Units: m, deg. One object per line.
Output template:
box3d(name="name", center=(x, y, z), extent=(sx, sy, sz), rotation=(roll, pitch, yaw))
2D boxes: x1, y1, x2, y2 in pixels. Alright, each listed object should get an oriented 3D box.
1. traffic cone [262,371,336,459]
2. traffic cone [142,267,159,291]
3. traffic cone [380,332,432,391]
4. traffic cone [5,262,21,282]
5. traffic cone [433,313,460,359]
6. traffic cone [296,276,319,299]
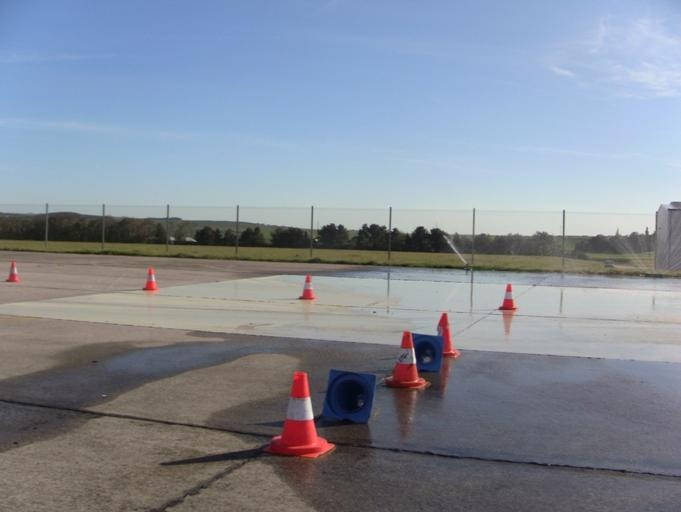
box3d(name="traffic cone", center=(-0.390, 1.468, 6.148), extent=(0.780, 0.699, 0.821), rotation=(1, -1, -8))
box3d(name="traffic cone", center=(-5.554, 0.686, 18.932), extent=(0.536, 0.750, 0.546), rotation=(-1, 2, 23))
box3d(name="traffic cone", center=(0.825, 1.277, 8.097), extent=(0.614, 0.664, 0.608), rotation=(3, -2, -5))
box3d(name="traffic cone", center=(-10.332, 0.516, 20.457), extent=(0.545, 0.751, 0.602), rotation=(2, 0, -12))
box3d(name="traffic cone", center=(1.545, 1.195, 9.638), extent=(0.551, 0.588, 0.522), rotation=(-1, -8, -7))
box3d(name="traffic cone", center=(-0.877, 0.792, 16.010), extent=(0.505, 0.693, 0.521), rotation=(0, -1, -6))
